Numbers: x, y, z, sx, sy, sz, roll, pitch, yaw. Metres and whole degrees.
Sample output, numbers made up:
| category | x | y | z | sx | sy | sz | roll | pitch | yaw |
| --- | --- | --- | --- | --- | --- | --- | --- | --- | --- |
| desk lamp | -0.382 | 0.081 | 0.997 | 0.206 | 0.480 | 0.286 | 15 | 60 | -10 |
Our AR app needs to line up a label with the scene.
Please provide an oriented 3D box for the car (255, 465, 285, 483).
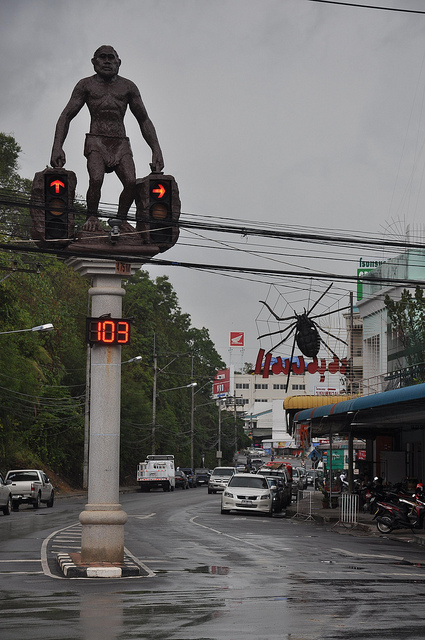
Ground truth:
| category | x | y | z | sx | sy | sz | roll | pitch | yaw |
| --- | --- | --- | --- | --- | --- | --- | --- | --- | --- |
| car | 2.414 | 6.148 | 48.188 | 1.068 | 0.874 | 1.804 | 0 | -17 | 5 |

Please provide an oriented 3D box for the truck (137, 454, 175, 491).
| category | x | y | z | sx | sy | sz | roll | pitch | yaw |
| --- | --- | --- | --- | --- | --- | --- | --- | --- | --- |
| truck | -2.912 | 8.167 | 64.346 | 1.358 | 1.367 | 2.341 | 0 | -2 | 5 |

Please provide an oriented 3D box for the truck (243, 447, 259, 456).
| category | x | y | z | sx | sy | sz | roll | pitch | yaw |
| --- | --- | --- | --- | --- | --- | --- | --- | --- | --- |
| truck | 4.248 | 14.570 | 132.189 | 1.317 | 0.923 | 2.114 | 2 | 3 | 1 |

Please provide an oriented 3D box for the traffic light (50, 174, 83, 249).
| category | x | y | z | sx | sy | sz | roll | pitch | yaw |
| --- | --- | --- | --- | --- | --- | --- | --- | --- | --- |
| traffic light | -2.316 | -1.648 | 18.834 | 0.422 | 1.195 | 1.117 | 0 | -9 | -6 |

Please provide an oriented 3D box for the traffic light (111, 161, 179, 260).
| category | x | y | z | sx | sy | sz | roll | pitch | yaw |
| --- | --- | --- | --- | --- | --- | --- | --- | --- | --- |
| traffic light | -0.859 | -1.688 | 19.346 | 0.759 | 1.424 | 0.823 | 6 | -40 | -11 |

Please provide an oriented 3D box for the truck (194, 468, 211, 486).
| category | x | y | z | sx | sy | sz | roll | pitch | yaw |
| --- | --- | --- | --- | --- | --- | --- | --- | --- | --- |
| truck | -0.646 | 11.026 | 82.291 | 1.374 | 1.197 | 2.417 | 0 | 4 | -1 |

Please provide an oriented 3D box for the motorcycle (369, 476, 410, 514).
| category | x | y | z | sx | sy | sz | roll | pitch | yaw |
| --- | --- | --- | --- | --- | --- | --- | --- | --- | --- |
| motorcycle | 4.470 | 4.485 | 31.102 | 1.207 | 0.830 | 0.746 | -1 | -16 | 6 |

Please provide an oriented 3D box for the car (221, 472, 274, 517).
| category | x | y | z | sx | sy | sz | roll | pitch | yaw |
| --- | --- | --- | --- | --- | --- | --- | --- | --- | --- |
| car | 1.062 | 5.345 | 36.630 | 1.515 | 1.310 | 1.503 | -2 | -9 | 8 |

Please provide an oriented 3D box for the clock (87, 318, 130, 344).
| category | x | y | z | sx | sy | sz | roll | pitch | yaw |
| --- | --- | --- | --- | --- | --- | --- | --- | --- | --- |
| clock | -1.564 | 0.160 | 18.323 | 0.649 | 0.383 | 0.294 | 2 | -9 | -13 |

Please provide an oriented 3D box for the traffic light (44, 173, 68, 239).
| category | x | y | z | sx | sy | sz | roll | pitch | yaw |
| --- | --- | --- | --- | --- | --- | --- | --- | --- | --- |
| traffic light | -2.417 | -1.762 | 18.668 | 0.363 | 0.995 | 0.342 | 0 | -9 | -8 |
